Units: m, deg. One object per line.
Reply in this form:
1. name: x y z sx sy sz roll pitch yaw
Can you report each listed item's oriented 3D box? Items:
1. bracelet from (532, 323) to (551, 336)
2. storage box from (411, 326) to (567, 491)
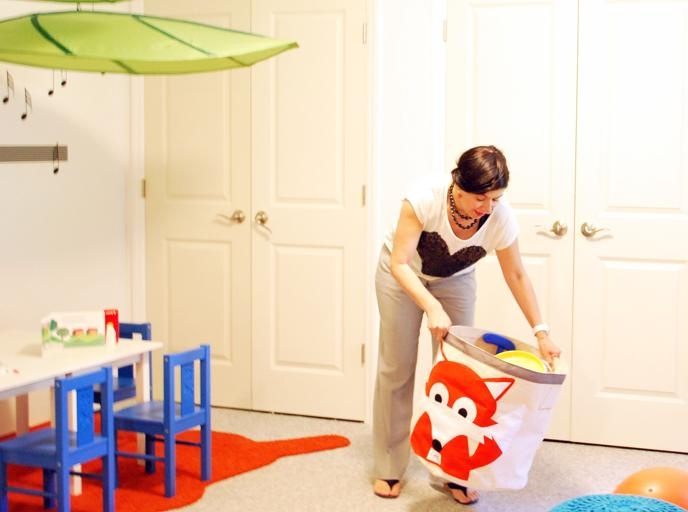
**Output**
1. bracelet: 0.824 0.299 2.476 0.075 0.046 0.055 -4 3 -40
2. storage box: 0.567 0.620 2.335 0.547 0.609 0.340 23 2 31
